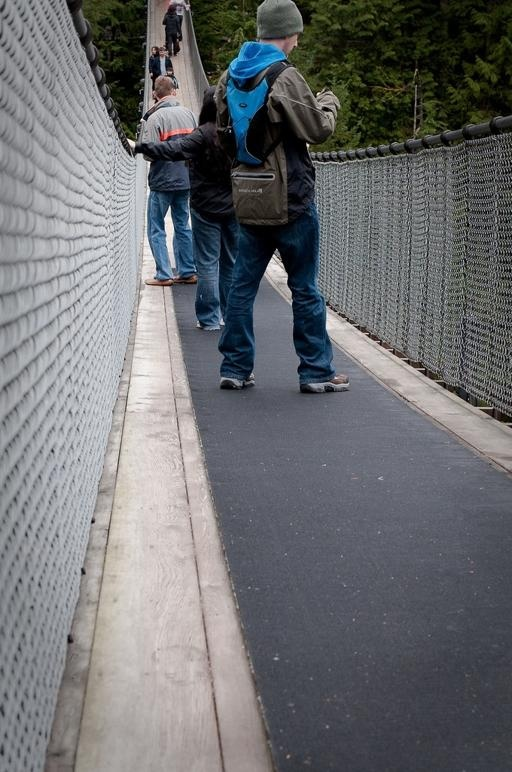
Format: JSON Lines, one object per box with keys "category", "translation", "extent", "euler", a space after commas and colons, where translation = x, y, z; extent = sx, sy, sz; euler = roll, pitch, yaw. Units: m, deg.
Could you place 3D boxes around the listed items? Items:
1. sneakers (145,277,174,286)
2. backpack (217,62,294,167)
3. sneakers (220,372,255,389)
{"category": "sneakers", "translation": [-1.187, -1.266, 7.675], "extent": [0.336, 0.182, 0.137], "euler": [6, 12, 22]}
{"category": "backpack", "translation": [-0.040, -1.510, 3.547], "extent": [0.327, 0.543, 0.309], "euler": [5, -2, 4]}
{"category": "sneakers", "translation": [-0.113, -0.021, 3.902], "extent": [0.214, 0.124, 0.081], "euler": [-14, 10, -39]}
